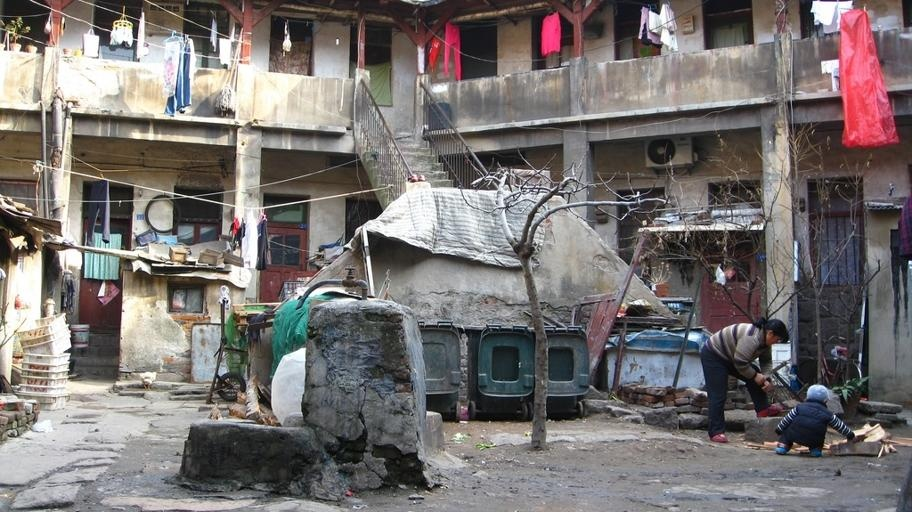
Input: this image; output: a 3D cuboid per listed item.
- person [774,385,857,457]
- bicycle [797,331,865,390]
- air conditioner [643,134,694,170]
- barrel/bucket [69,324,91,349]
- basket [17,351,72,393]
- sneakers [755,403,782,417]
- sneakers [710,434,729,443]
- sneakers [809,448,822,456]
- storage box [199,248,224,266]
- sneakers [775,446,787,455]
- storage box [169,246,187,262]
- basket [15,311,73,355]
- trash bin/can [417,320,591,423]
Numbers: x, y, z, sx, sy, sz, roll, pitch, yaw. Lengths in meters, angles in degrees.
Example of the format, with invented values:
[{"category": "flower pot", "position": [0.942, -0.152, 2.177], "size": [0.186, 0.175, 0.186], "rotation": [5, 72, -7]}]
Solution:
[{"category": "person", "position": [7.504, 3.459, 21.680], "size": [1.482, 1.440, 0.392], "rotation": [-2, -7, 17]}, {"category": "bicycle", "position": [10.492, 2.876, 28.267], "size": [1.345, 1.369, 2.284], "rotation": [1, -4, 6]}, {"category": "air conditioner", "position": [6.553, -3.122, 31.518], "size": [1.586, 1.305, 0.865], "rotation": [-7, -15, 35]}, {"category": "barrel/bucket", "position": [-11.436, 2.449, 31.176], "size": [0.652, 0.680, 0.646], "rotation": [0, -12, 0]}, {"category": "basket", "position": [-9.885, 2.822, 24.598], "size": [0.944, 0.866, 0.767], "rotation": [4, -2, 8]}, {"category": "sneakers", "position": [7.018, 3.441, 22.821], "size": [0.661, 0.269, 0.239], "rotation": [-5, 1, -11]}, {"category": "sneakers", "position": [5.793, 4.019, 22.671], "size": [0.339, 0.138, 0.181], "rotation": [1, -2, -26]}, {"category": "sneakers", "position": [7.566, 4.126, 21.604], "size": [0.239, 0.154, 0.129], "rotation": [-1, -2, -15]}, {"category": "storage box", "position": [-7.247, 0.050, 30.080], "size": [0.546, 0.323, 0.529], "rotation": [7, 9, -2]}, {"category": "sneakers", "position": [6.890, 4.117, 21.779], "size": [0.171, 0.134, 0.312], "rotation": [2, -2, 15]}, {"category": "storage box", "position": [-8.155, -0.118, 29.877], "size": [0.475, 0.310, 0.459], "rotation": [-2, 25, -27]}, {"category": "basket", "position": [-9.938, 1.893, 24.638], "size": [1.166, 0.723, 0.808], "rotation": [-13, 5, 27]}, {"category": "trash bin/can", "position": [1.098, 2.723, 24.263], "size": [3.871, 2.220, 1.091], "rotation": [1, -7, -1]}]
